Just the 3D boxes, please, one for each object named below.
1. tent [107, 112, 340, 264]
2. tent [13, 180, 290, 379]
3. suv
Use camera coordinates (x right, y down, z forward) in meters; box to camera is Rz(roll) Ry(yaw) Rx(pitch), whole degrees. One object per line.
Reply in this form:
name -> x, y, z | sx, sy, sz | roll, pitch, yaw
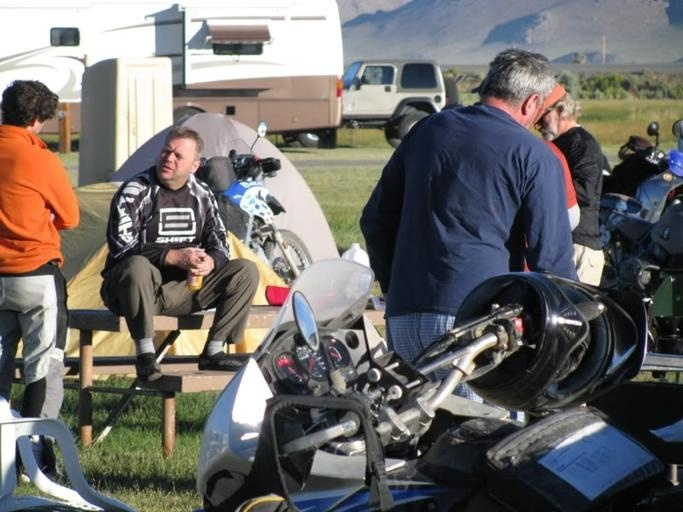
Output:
tent -> -1.020, -0.816, 13.960 | 1.716, 1.084, 1.794 | -1, 5, -31
tent -> -1.820, 0.152, 12.416 | 1.755, 0.881, 1.686 | -3, 4, -42
suv -> 0.589, -3.288, 27.041 | 3.581, 2.199, 2.252 | 1, 5, -2
